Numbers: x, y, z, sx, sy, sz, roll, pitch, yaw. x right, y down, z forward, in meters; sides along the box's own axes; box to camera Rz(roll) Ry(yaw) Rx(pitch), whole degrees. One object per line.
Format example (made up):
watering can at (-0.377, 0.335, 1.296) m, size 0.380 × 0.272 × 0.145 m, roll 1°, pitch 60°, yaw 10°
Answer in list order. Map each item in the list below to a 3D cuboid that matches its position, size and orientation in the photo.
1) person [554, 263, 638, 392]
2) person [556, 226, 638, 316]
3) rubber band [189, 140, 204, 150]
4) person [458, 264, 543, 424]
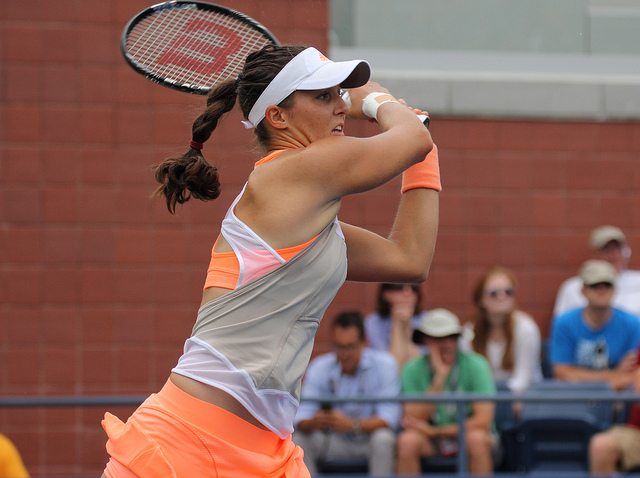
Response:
person at (2.251, 0.746, 12.349) m, size 0.774 × 1.107 × 0.746 m, roll 4°, pitch -25°, yaw 0°
person at (2.410, 0.254, 12.976) m, size 0.652 × 0.324 × 0.809 m, roll 2°, pitch -15°, yaw -1°
rubber band at (-0.843, -0.623, 10.298) m, size 0.067 × 0.028 × 0.067 m, roll 19°, pitch 2°, yaw 1°
person at (1.436, 0.879, 12.451) m, size 0.764 × 1.315 × 1.310 m, roll -3°, pitch -1°, yaw 10°
